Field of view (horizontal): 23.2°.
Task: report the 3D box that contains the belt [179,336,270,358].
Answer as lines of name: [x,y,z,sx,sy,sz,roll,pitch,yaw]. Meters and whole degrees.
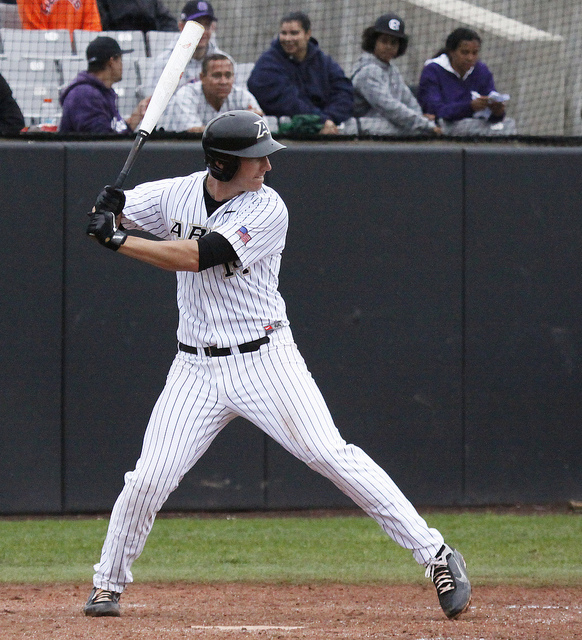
belt: [-0.270,0.105,5.658,0.368,0.070,0.080,0,11,9]

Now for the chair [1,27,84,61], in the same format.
chair: [-1.366,-1.524,7.815,0.477,0.186,0.349,-2,11,-3]

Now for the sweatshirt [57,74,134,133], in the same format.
sweatshirt: [-1.072,-1.120,7.659,0.373,0.458,0.603,-1,13,-6]

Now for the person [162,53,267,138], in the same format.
person: [-0.393,-1.131,7.173,0.720,0.478,0.372,-5,17,-24]

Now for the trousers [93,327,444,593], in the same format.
trousers: [-0.163,0.671,6.579,1.197,0.929,0.320,-1,-3,2]

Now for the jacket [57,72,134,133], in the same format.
jacket: [-1.041,-1.121,7.671,0.397,0.468,0.634,-5,13,-7]

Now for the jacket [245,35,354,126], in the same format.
jacket: [0.044,-1.312,8.075,0.558,0.288,0.790,5,-26,-17]

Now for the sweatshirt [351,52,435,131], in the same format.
sweatshirt: [0.570,-1.312,8.145,0.417,0.375,0.782,-14,-2,5]

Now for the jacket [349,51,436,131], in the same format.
jacket: [0.525,-1.272,7.985,0.641,0.451,0.354,-5,10,-18]

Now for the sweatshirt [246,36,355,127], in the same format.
sweatshirt: [0.063,-1.322,7.855,0.579,0.482,0.323,-3,11,-9]

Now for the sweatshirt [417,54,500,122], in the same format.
sweatshirt: [0.904,-1.333,8.079,0.353,0.419,0.435,-18,30,-26]

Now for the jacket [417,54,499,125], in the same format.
jacket: [0.929,-1.320,8.035,0.381,0.454,0.435,-13,24,-26]
